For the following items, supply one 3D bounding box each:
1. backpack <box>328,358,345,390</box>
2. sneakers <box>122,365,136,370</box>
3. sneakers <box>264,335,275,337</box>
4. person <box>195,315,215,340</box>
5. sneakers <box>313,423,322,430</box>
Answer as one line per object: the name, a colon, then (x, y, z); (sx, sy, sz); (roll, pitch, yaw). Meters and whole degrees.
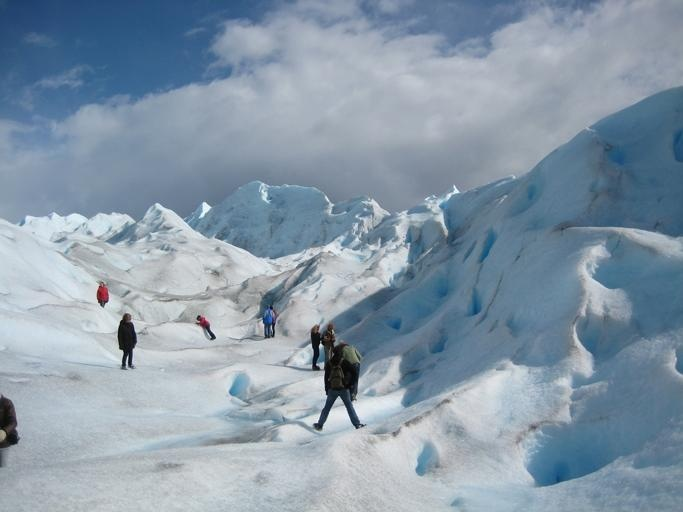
backpack: (-0.116, 2.702, 18.960); (0.403, 0.676, 0.188); (-13, 1, -2)
sneakers: (-5.951, 3.123, 23.274); (0.395, 0.145, 0.125); (0, -2, -20)
sneakers: (-2.803, 3.145, 32.522); (0.403, 0.107, 0.159); (2, -12, -14)
person: (-5.455, 2.905, 33.539); (0.604, 1.037, 1.461); (-14, 1, -15)
sneakers: (-0.549, 3.976, 19.399); (0.223, 0.190, 0.116); (-5, -9, 7)
